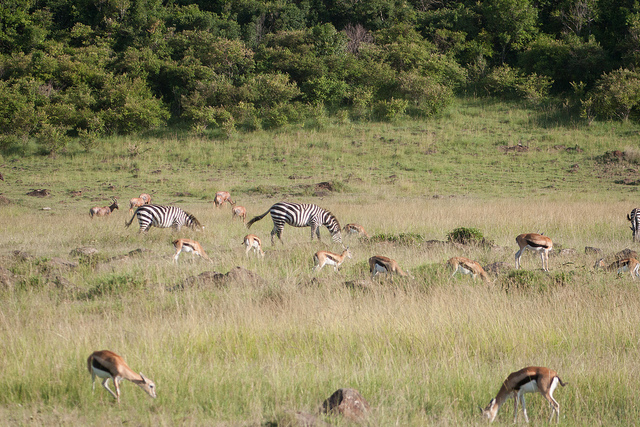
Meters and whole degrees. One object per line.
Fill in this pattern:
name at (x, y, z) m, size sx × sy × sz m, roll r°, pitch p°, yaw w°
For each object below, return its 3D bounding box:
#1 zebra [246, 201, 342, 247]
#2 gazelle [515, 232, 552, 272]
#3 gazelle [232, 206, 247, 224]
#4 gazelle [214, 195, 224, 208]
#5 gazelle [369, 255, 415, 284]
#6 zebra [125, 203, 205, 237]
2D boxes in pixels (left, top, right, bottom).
zebra at (-1.278, 0.846, 90.497) m, size 5.617 × 3.366 × 1.806 m, roll 1°, pitch 8°, yaw -4°
gazelle at (16.515, 2.859, 85.762) m, size 2.623 × 2.660 × 1.324 m, roll 2°, pitch 8°, yaw 9°
gazelle at (-6.867, -0.065, 95.053) m, size 1.126 × 1.238 × 1.464 m, roll 1°, pitch 8°, yaw -3°
gazelle at (-8.869, -1.184, 98.599) m, size 0.527 × 1.048 × 1.107 m, roll 8°, pitch 11°, yaw 44°
gazelle at (5.214, 4.196, 84.411) m, size 2.865 × 1.912 × 0.924 m, roll 2°, pitch 7°, yaw 3°
zebra at (-12.653, 0.535, 91.443) m, size 5.022 × 2.475 × 0.700 m, roll 0°, pitch 7°, yaw -6°
